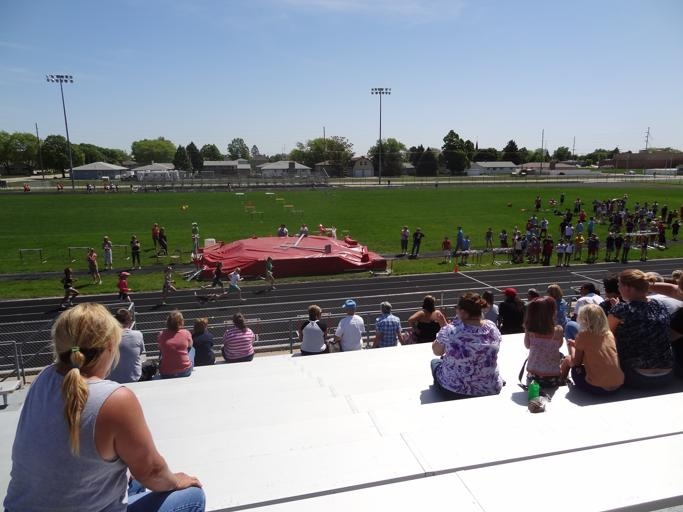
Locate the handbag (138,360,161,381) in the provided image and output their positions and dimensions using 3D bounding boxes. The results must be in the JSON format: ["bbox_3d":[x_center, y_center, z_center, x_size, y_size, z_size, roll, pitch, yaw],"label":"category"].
[{"bbox_3d":[-2.815,1.709,8.542,0.237,0.332,0.324,3,0,15],"label":"handbag"}]

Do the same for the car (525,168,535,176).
[{"bbox_3d":[39.868,-17.896,121.019,1.620,1.325,7.704,0,6,17],"label":"car"}]
